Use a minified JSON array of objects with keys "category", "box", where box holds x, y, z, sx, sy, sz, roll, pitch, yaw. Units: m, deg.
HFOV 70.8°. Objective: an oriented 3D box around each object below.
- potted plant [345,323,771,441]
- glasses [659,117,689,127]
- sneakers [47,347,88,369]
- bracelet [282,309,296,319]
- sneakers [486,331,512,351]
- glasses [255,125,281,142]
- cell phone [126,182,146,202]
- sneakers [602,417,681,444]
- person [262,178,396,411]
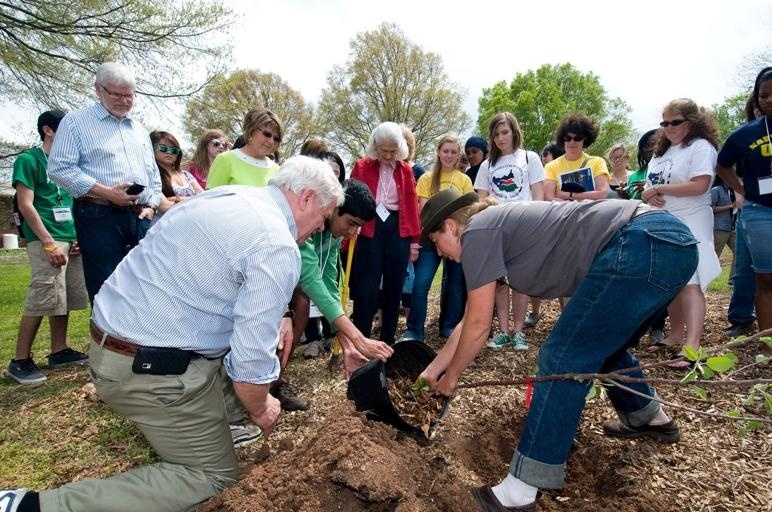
[{"category":"potted plant","box":[1.511,1.125,4.654,3.003,0.763,0.798,-4,-20,15]},{"category":"glasses","box":[2.929,-1.373,5.552,0.218,0.113,0.238,-10,17,-44]},{"category":"sneakers","box":[-3.529,1.128,6.064,0.516,0.218,0.188,-1,2,-28]},{"category":"bracelet","box":[-0.878,0.530,4.925,0.124,0.065,0.168,2,-25,-10]},{"category":"sneakers","box":[1.275,0.966,6.143,0.329,0.138,0.127,3,-11,-37]},{"category":"glasses","box":[-1.199,-1.264,5.674,0.144,0.167,0.345,9,14,28]},{"category":"cell phone","box":[-2.423,-0.645,5.267,0.133,0.135,0.030,10,40,-12]},{"category":"sneakers","box":[2.212,1.526,4.761,0.624,0.265,0.233,1,2,20]},{"category":"person","box":[-0.499,0.344,4.955,1.572,2.354,0.925,6,41,-13]}]
